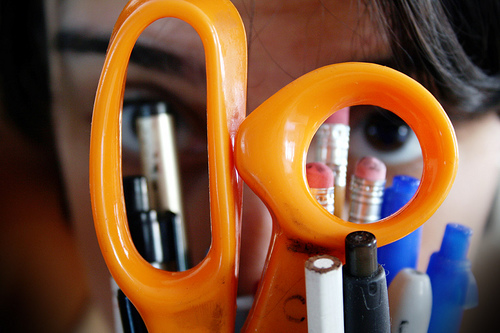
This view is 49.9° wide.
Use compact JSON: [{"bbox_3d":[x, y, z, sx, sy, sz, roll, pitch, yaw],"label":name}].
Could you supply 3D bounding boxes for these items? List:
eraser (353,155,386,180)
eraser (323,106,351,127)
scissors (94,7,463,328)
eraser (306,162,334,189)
[{"bbox_3d":[0.148,-0.005,0.662,0.027,0.030,0.029,19,11,-7],"label":"eraser"},{"bbox_3d":[0.106,-0.062,0.651,0.021,0.028,0.026,-1,7,3],"label":"eraser"},{"bbox_3d":[0.037,-0.010,0.630,0.354,0.406,0.067,0,1,-11],"label":"scissors"},{"bbox_3d":[0.081,0.009,0.602,0.025,0.030,0.026,-2,0,6],"label":"eraser"}]
